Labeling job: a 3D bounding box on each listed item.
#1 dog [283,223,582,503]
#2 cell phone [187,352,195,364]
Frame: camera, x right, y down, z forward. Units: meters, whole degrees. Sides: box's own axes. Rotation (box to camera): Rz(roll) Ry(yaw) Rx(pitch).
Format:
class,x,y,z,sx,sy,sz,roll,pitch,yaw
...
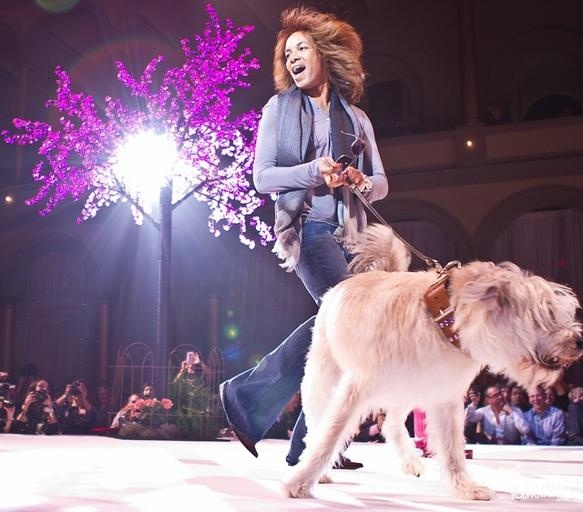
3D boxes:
class,x,y,z,sx,sy,sz,roll,pitch,yaw
dog,0.577,0.505,2.463,1.160,0.972,0.400,-2,-11,13
cell phone,-1.260,1.285,7.455,0.096,0.188,0.108,-2,-9,10
